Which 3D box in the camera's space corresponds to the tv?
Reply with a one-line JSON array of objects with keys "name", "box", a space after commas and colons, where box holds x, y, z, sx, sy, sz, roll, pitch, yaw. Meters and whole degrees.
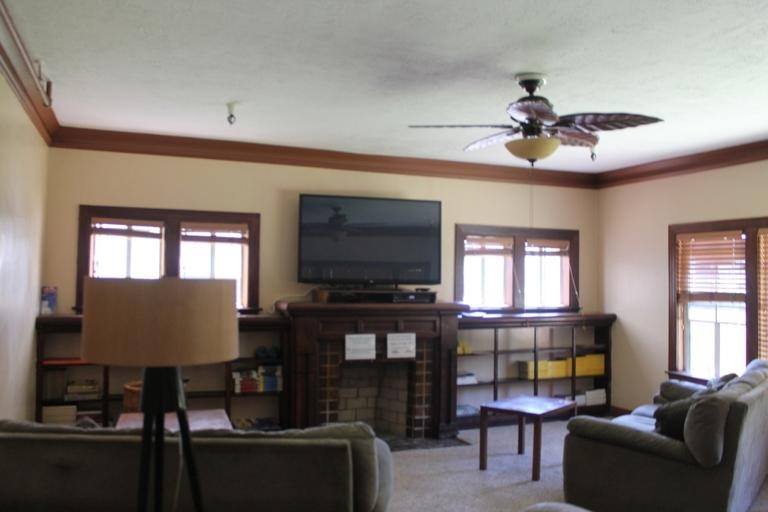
[{"name": "tv", "box": [-0.130, -0.153, 6.997, 1.713, 0.991, 0.059, 1, 0, -21]}]

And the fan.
[{"name": "fan", "box": [1.363, -1.122, 4.984, 0.997, 0.677, 1.258, 0, 4, -18]}]

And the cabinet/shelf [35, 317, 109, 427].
[{"name": "cabinet/shelf", "box": [-3.117, 1.213, 6.176, 0.722, 1.171, 0.400, 1, -6, -18]}]

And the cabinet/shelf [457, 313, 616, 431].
[{"name": "cabinet/shelf", "box": [1.801, 1.386, 7.634, 2.414, 1.396, 0.482, 1, -2, -24]}]

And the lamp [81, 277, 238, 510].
[{"name": "lamp", "box": [-1.198, 0.765, 3.284, 0.788, 1.313, 0.348, 0, 5, -14]}]

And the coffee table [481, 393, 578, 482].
[{"name": "coffee table", "box": [1.383, 1.887, 6.131, 0.687, 0.692, 0.978, -3, -4, 39]}]

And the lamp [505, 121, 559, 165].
[{"name": "lamp", "box": [1.185, -0.883, 4.898, 0.406, 0.311, 0.377, 2, 4, 15]}]
